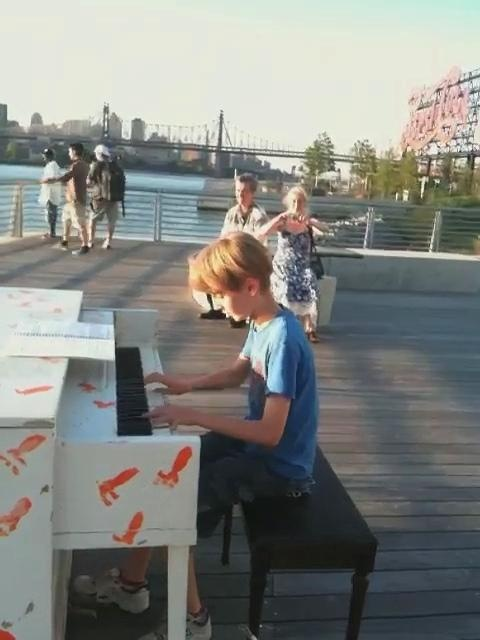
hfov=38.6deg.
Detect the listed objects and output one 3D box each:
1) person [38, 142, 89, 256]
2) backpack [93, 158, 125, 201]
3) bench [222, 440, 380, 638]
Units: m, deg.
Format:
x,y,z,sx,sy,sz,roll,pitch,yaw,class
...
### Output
x,y,z,sx,sy,sz,roll,pitch,yaw,class
-2.038,-1.462,8.156,0.510,1.258,1.313,-1,14,-15,person
-1.535,-1.643,8.076,0.381,0.483,0.296,-1,15,-15,backpack
0.142,0.596,1.789,0.292,0.280,0.402,1,14,-8,bench
